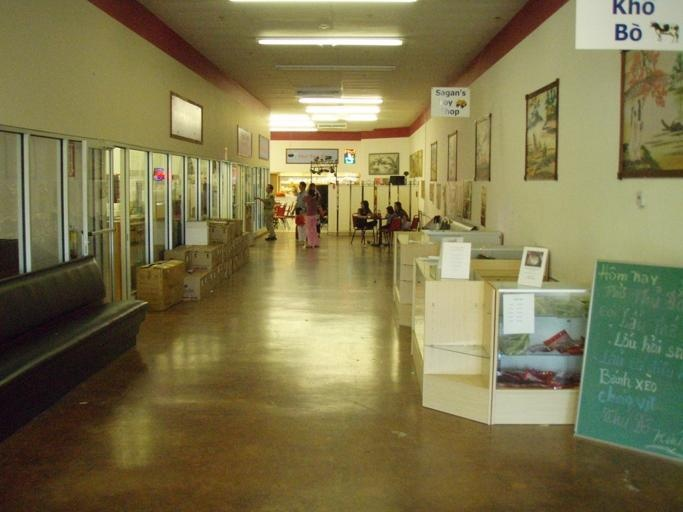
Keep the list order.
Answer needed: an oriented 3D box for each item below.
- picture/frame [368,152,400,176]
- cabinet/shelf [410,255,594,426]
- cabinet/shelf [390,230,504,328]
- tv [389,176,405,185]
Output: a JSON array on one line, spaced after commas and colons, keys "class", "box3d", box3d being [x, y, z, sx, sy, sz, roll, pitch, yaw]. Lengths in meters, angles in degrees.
[{"class": "picture/frame", "box3d": [1.964, -4.182, 24.177, 1.250, 0.922, 0.047, 4, 10, 21]}, {"class": "cabinet/shelf", "box3d": [1.459, 0.852, 4.884, 1.158, 1.088, 1.624, 1, 5, 6]}, {"class": "cabinet/shelf", "box3d": [1.485, 0.052, 8.162, 1.193, 1.149, 2.296, 1, 5, 5]}, {"class": "tv", "box3d": [2.258, -3.038, 21.578, 0.551, 0.377, 0.307, 0, 0, 2]}]
